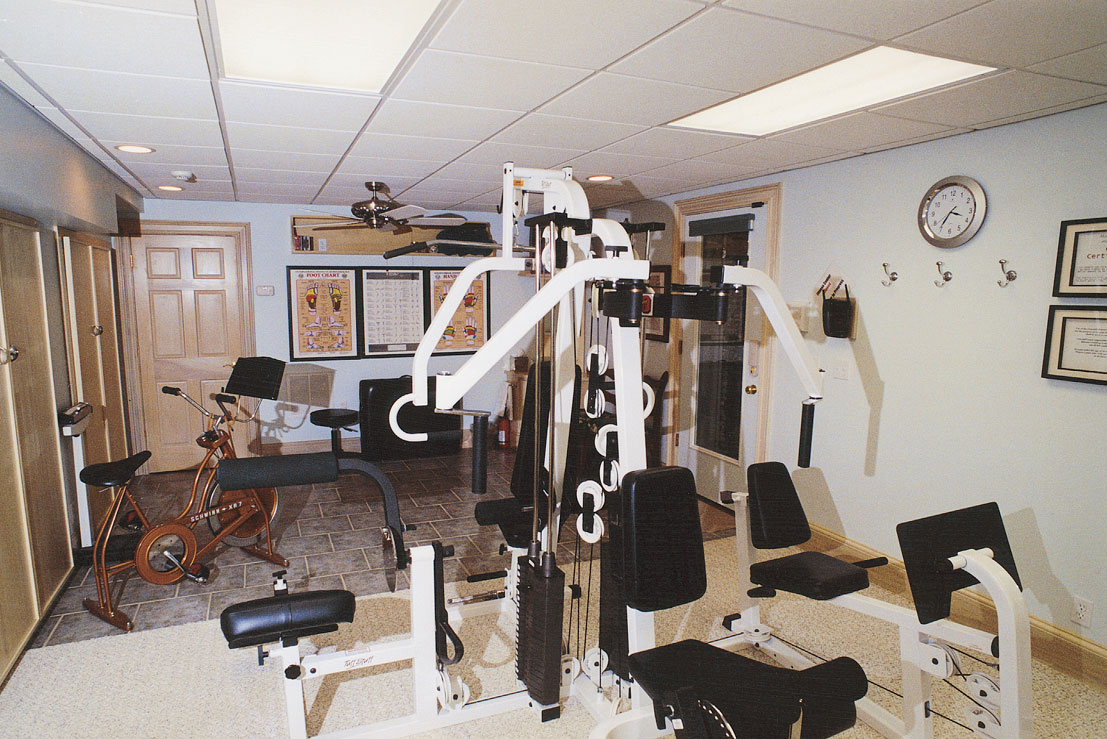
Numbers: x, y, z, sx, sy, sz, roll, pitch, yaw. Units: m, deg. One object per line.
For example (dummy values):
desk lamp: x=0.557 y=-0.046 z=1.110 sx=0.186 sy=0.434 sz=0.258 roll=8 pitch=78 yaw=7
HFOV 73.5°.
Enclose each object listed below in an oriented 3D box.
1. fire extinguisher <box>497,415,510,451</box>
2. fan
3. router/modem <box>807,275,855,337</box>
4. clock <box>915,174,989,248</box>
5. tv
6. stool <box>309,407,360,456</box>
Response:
fire extinguisher: x=-0.537 y=0.690 z=8.298 sx=0.137 sy=0.324 sz=0.166 roll=0 pitch=6 yaw=-7
fan: x=-1.275 y=-1.189 z=5.360 sx=0.799 sy=0.223 sz=0.873 roll=5 pitch=17 yaw=33
router/modem: x=2.025 y=-0.464 z=5.417 sx=0.137 sy=0.468 sz=0.334 roll=-3 pitch=7 yaw=-25
clock: x=2.561 y=-1.021 z=4.752 sx=0.045 sy=0.534 sz=0.577 roll=1 pitch=-1 yaw=-32
tv: x=-1.502 y=0.514 z=7.829 sx=1.167 sy=0.907 sz=0.389 roll=-2 pitch=1 yaw=29
stool: x=-2.197 y=0.600 z=7.424 sx=0.449 sy=0.413 sz=0.424 roll=-6 pitch=16 yaw=-33
